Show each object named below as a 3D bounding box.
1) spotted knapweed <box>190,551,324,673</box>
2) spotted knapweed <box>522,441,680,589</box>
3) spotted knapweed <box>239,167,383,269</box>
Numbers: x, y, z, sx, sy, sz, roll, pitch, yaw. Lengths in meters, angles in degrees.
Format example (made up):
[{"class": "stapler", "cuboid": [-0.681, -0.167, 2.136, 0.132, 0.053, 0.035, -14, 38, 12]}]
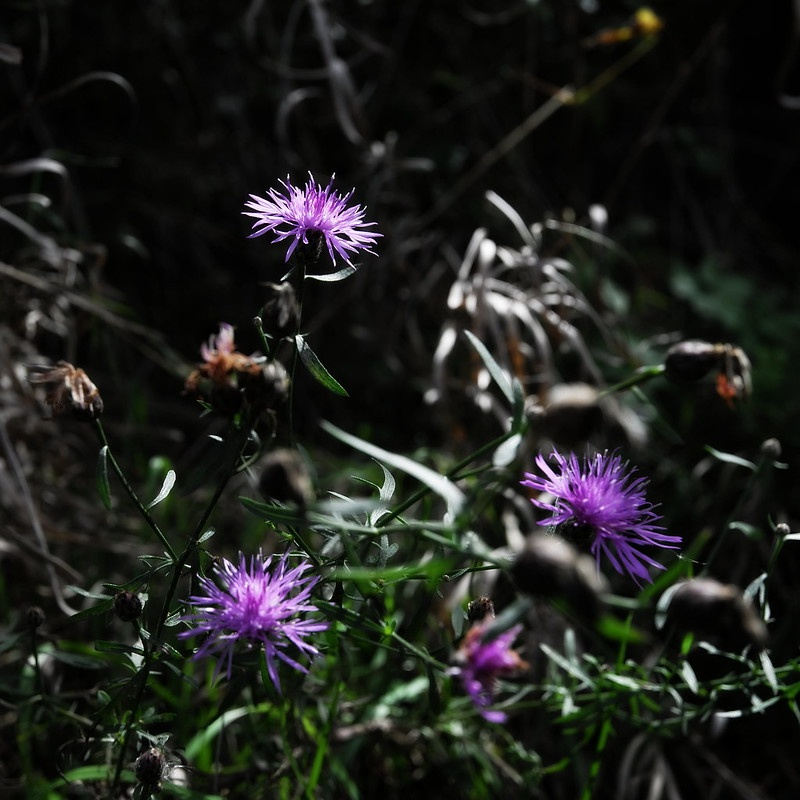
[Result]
[{"class": "spotted knapweed", "cuboid": [-0.123, 0.177, 0.733, 0.111, 0.116, 0.072, 1, 96, 38]}, {"class": "spotted knapweed", "cuboid": [0.168, 0.083, 0.777, 0.142, 0.148, 0.093, -2, 94, -22]}, {"class": "spotted knapweed", "cuboid": [-0.074, -0.166, 0.775, 0.087, 0.090, 0.054, 7, 92, 32]}]
